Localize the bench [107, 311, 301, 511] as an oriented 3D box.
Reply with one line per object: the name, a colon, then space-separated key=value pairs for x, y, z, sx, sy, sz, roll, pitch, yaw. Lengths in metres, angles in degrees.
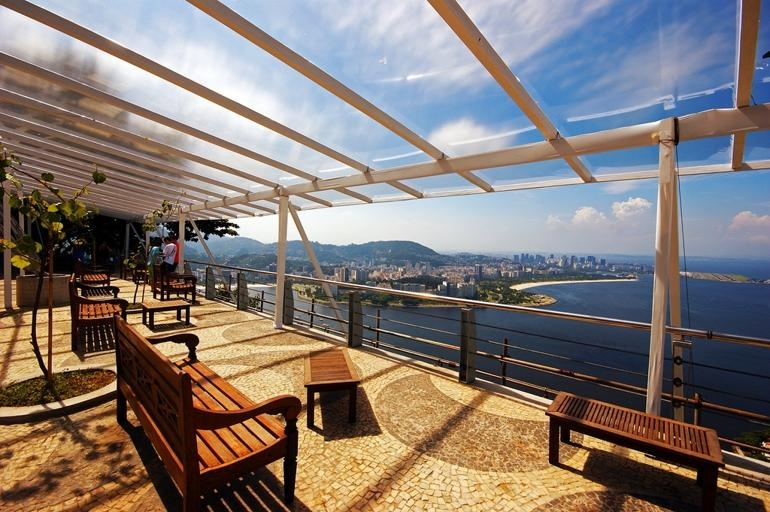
bench: x=-2.147 y=1.830 z=4.841 sx=0.906 sy=0.991 sz=2.052 roll=-9 pitch=14 yaw=-40

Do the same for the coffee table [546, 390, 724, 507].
coffee table: x=2.729 y=2.098 z=4.515 sx=1.586 sy=1.272 sz=0.523 roll=-2 pitch=0 yaw=26

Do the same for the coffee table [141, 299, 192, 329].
coffee table: x=-4.532 y=1.066 z=8.410 sx=0.901 sy=0.421 sz=0.858 roll=1 pitch=2 yaw=-43

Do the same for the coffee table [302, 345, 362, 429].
coffee table: x=-0.774 y=1.707 z=5.636 sx=0.758 sy=0.488 sz=1.217 roll=0 pitch=8 yaw=-11

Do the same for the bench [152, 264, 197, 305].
bench: x=-5.642 y=0.775 z=10.875 sx=0.745 sy=0.700 sz=1.278 roll=-2 pitch=3 yaw=-39
